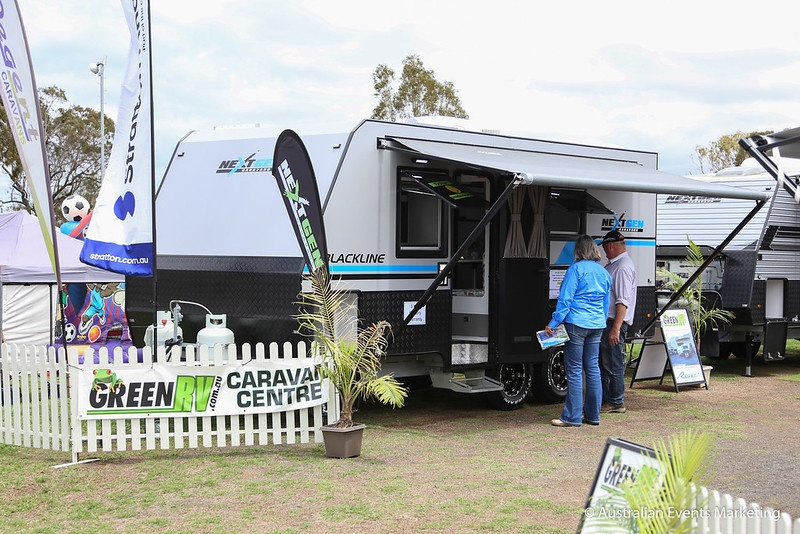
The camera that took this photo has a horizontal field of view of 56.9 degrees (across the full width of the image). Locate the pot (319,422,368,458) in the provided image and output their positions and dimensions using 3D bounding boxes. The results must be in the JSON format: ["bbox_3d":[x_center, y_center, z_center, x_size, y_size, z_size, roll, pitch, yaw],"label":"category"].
[{"bbox_3d":[-0.578,1.750,7.556,0.328,0.311,0.407,-2,-2,30],"label":"pot"}]

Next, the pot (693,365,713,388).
[{"bbox_3d":[4.938,1.765,12.160,0.384,0.337,0.354,0,4,0],"label":"pot"}]

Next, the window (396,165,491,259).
[{"bbox_3d":[0.691,-0.675,9.385,1.363,1.285,0.432,-4,12,-31],"label":"window"}]

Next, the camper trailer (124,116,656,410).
[{"bbox_3d":[0.167,-0.027,9.628,6.705,4.034,2.237,0,1,-15],"label":"camper trailer"}]

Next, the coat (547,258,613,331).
[{"bbox_3d":[2.286,0.376,9.391,0.879,0.861,0.464,10,0,-25],"label":"coat"}]

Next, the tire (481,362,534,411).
[{"bbox_3d":[1.444,1.635,10.143,0.581,0.575,0.197,30,-13,-37],"label":"tire"}]
